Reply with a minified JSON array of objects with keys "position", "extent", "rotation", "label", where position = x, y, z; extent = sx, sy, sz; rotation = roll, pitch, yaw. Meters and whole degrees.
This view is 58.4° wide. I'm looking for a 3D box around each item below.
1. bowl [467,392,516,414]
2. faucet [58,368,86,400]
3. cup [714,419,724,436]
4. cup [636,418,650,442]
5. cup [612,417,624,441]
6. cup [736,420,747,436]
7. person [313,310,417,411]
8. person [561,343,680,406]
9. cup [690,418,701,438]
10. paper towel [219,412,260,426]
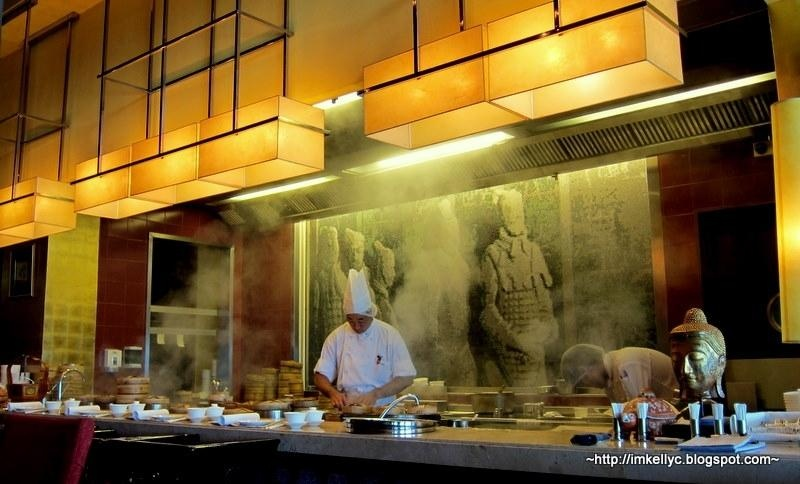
[{"position":[0.800,1.380,6.149],"extent":[0.289,0.127,0.222],"rotation":[-7,-14,32],"label":"bowl"},{"position":[-3.047,1.346,6.647],"extent":[0.203,0.312,0.311],"rotation":[0,-16,-10],"label":"faucet"},{"position":[1.739,0.999,3.891],"extent":[0.050,0.085,0.045],"rotation":[-9,-16,19],"label":"cup"},{"position":[1.378,1.051,4.028],"extent":[0.081,0.127,0.069],"rotation":[-2,-15,-6],"label":"cup"},{"position":[1.250,1.058,4.082],"extent":[0.066,0.135,0.077],"rotation":[-8,-15,13],"label":"cup"},{"position":[1.837,0.992,3.842],"extent":[0.052,0.076,0.098],"rotation":[-10,-16,22],"label":"cup"},{"position":[-0.322,1.154,6.117],"extent":[0.924,0.998,0.575],"rotation":[0,-10,5],"label":"person"},{"position":[1.701,0.988,5.544],"extent":[0.545,0.498,0.792],"rotation":[-2,-15,-6],"label":"person"},{"position":[1.642,1.020,3.958],"extent":[0.061,0.092,0.139],"rotation":[-9,-15,20],"label":"cup"},{"position":[-1.059,1.177,4.789],"extent":[0.276,0.087,0.070],"rotation":[-5,-41,-24],"label":"paper towel"}]
